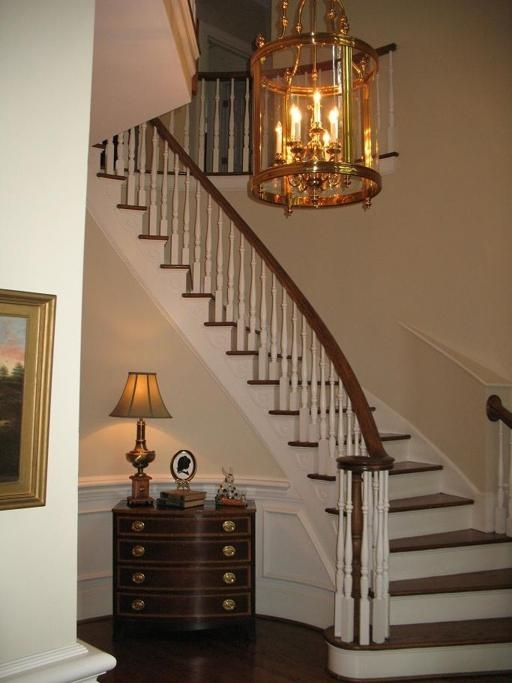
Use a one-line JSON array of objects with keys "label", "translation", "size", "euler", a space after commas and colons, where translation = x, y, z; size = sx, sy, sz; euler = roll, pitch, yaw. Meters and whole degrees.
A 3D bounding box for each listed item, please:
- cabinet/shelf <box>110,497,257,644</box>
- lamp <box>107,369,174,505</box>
[{"label": "cabinet/shelf", "translation": [-0.391, 1.162, 4.211], "size": [1.122, 1.054, 0.650], "euler": [0, -6, -1]}, {"label": "lamp", "translation": [-0.718, 0.594, 4.221], "size": [0.352, 0.800, 0.512], "euler": [0, -1, -7]}]
